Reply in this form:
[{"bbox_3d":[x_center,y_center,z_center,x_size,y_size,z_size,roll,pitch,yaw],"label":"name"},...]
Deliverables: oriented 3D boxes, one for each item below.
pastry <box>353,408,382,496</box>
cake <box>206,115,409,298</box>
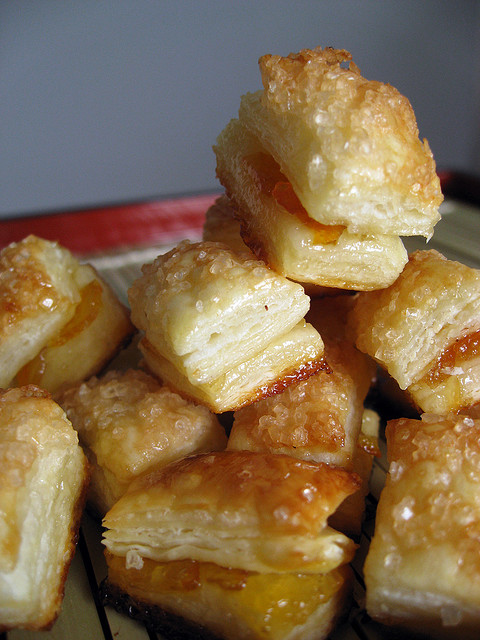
[{"bbox_3d":[0.194,0.194,1.015,0.056,0.102,0.059,14,24,20],"label":"pastry"},{"bbox_3d":[0.054,-0.168,0.913,0.148,0.211,0.317,-30,43,-18],"label":"cake"}]
